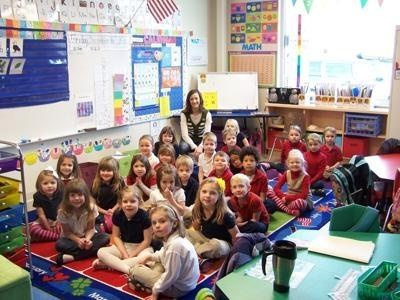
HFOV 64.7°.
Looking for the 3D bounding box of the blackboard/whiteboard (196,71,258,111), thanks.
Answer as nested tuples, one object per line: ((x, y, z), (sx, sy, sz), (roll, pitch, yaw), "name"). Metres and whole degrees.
((0.490, -1.027, 5.536), (0.679, 0.538, 0.098), (0, 5, 3), "blackboard/whiteboard")

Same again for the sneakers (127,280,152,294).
((-0.447, 1.013, 2.316), (0.136, 0.087, 0.039), (21, 42, 9), "sneakers")

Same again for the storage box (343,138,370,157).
((2.424, -0.057, 4.930), (0.374, 0.400, 0.285), (5, 8, 38), "storage box")

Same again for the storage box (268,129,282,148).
((1.302, -0.223, 5.668), (0.242, 0.473, 0.284), (2, 5, 16), "storage box")

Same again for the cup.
((0.340, 0.501, 1.414), (0.176, 0.251, 0.133), (-3, 6, -8), "cup")

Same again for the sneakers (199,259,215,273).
((0.056, 0.930, 2.584), (0.051, 0.167, 0.107), (8, 2, -30), "sneakers")

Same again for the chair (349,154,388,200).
((1.719, 0.288, 3.221), (0.363, 0.427, 0.305), (-6, 20, -4), "chair")

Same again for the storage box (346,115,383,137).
((2.507, -0.389, 4.848), (0.383, 0.323, 0.407), (5, 9, 30), "storage box")
